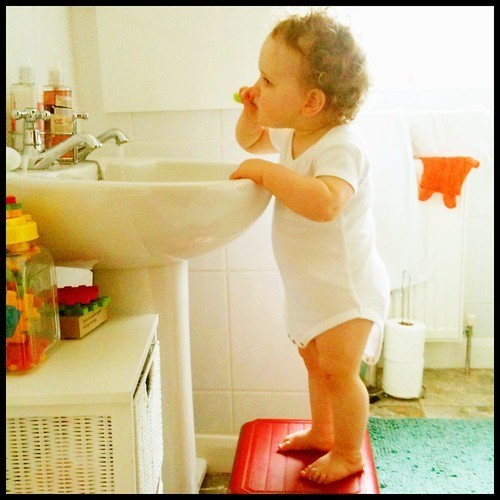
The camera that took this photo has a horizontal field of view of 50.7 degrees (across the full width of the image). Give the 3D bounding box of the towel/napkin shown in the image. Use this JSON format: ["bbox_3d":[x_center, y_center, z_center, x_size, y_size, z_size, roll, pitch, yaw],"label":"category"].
[{"bbox_3d":[0.608,-0.206,1.621,0.172,0.160,0.053,-4,12,-7],"label":"towel/napkin"}]

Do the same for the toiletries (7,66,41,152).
[{"bbox_3d":[-0.437,-0.270,1.036,0.040,0.197,0.057,-11,-17,11],"label":"toiletries"}]

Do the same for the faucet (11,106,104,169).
[{"bbox_3d":[-0.323,-0.222,0.973,0.190,0.142,0.101,8,17,21],"label":"faucet"}]

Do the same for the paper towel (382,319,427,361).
[{"bbox_3d":[0.496,0.304,1.702,0.126,0.144,0.129,6,8,35],"label":"paper towel"}]

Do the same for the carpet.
[{"bbox_3d":[0.487,0.552,1.420,0.210,0.002,0.265,-2,18,6],"label":"carpet"}]

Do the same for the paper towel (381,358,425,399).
[{"bbox_3d":[0.500,0.389,1.722,0.119,0.150,0.120,0,15,19],"label":"paper towel"}]

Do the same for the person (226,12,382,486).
[{"bbox_3d":[0.098,0.008,1.057,0.333,0.900,0.383,4,14,24],"label":"person"}]

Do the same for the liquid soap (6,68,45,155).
[{"bbox_3d":[-0.450,-0.284,1.056,0.061,0.187,0.064,-6,30,-34],"label":"liquid soap"}]
